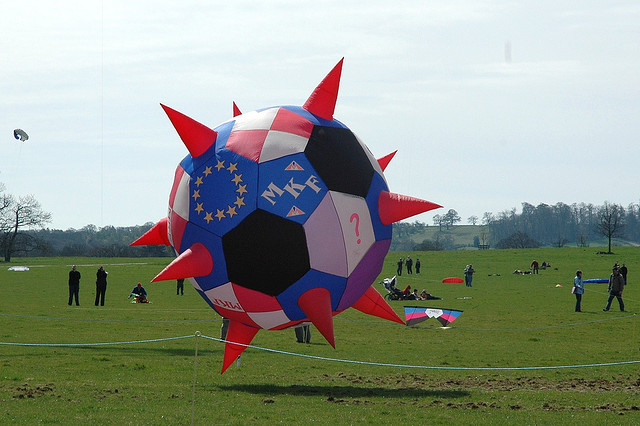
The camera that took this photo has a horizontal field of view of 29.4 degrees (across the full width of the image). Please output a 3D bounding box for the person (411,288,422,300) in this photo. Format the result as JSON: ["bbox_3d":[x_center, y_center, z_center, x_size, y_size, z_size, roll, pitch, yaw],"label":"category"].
[{"bbox_3d":[6.965,6.021,87.629,0.611,0.718,0.280,-3,27,11],"label":"person"}]

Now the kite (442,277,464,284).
[{"bbox_3d":[11.190,5.692,101.467,1.819,0.431,1.094,-1,-5,21],"label":"kite"}]

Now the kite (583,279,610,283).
[{"bbox_3d":[22.235,5.491,97.510,1.192,0.222,1.091,0,1,6],"label":"kite"}]

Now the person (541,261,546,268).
[{"bbox_3d":[21.031,4.907,114.395,0.583,0.373,1.018,-3,-39,17],"label":"person"}]

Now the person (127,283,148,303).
[{"bbox_3d":[-12.696,5.690,85.886,1.216,1.056,1.454,2,-10,-18],"label":"person"}]

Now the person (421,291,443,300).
[{"bbox_3d":[8.013,6.100,88.096,1.041,0.312,0.765,6,-4,-4],"label":"person"}]
